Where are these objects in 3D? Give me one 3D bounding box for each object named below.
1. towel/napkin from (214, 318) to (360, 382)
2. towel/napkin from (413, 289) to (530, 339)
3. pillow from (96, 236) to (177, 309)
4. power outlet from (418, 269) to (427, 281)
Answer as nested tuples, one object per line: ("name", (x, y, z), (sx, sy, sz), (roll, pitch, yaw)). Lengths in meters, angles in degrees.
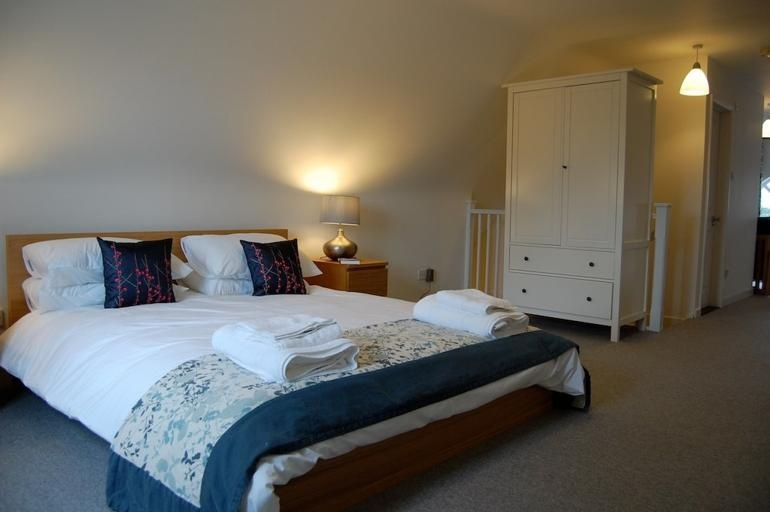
("towel/napkin", (-0.410, 0.431, 2.484), (0.391, 0.128, 0.382), (-6, 11, -39))
("towel/napkin", (0.570, 0.342, 3.186), (0.388, 0.118, 0.395), (0, 6, -41))
("pillow", (-1.659, 0.118, 3.474), (0.456, 0.443, 0.156), (-3, -9, -41))
("power outlet", (0.402, 0.194, 5.693), (0.128, 0.088, 0.018), (-4, 8, -43))
